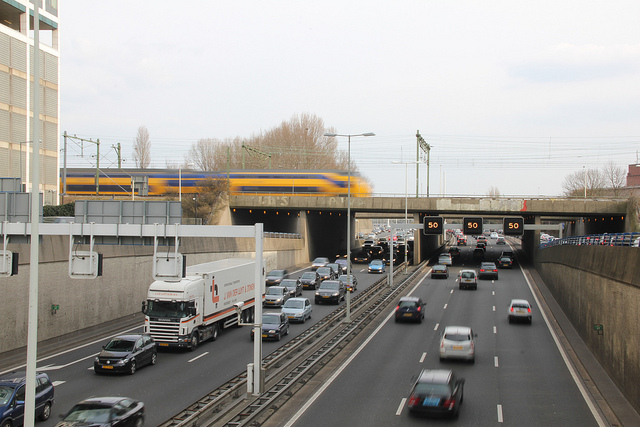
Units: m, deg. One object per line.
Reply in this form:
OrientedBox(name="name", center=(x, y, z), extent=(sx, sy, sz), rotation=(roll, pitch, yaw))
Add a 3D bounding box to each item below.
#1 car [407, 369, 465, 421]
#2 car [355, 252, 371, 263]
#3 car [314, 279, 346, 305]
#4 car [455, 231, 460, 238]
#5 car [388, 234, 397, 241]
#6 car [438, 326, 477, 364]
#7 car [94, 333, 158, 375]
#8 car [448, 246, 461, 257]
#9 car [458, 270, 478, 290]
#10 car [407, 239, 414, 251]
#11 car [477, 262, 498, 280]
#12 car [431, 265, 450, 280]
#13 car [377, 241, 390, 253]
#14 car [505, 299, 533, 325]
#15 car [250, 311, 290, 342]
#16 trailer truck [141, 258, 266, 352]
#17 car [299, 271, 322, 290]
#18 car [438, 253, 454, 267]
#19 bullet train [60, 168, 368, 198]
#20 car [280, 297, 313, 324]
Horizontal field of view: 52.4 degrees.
OrientedBox(name="car", center=(5.576, 8.894, 31.711), extent=(2.423, 2.104, 2.976), rotation=(0, -1, -1))
OrientedBox(name="car", center=(5.857, 6.191, 89.912), extent=(1.875, 1.318, 2.388), rotation=(-3, -2, 6))
OrientedBox(name="car", center=(0.952, 7.077, 57.125), extent=(2.804, 2.036, 1.852), rotation=(-2, -1, -36))
OrientedBox(name="car", center=(38.941, 6.212, 184.860), extent=(1.567, 1.237, 2.628), rotation=(0, -3, -7))
OrientedBox(name="car", center=(12.553, 4.305, 112.945), extent=(1.595, 0.803, 2.324), rotation=(0, -4, -2))
OrientedBox(name="car", center=(8.519, 7.923, 40.203), extent=(1.968, 1.940, 4.220), rotation=(1, 3, 14))
OrientedBox(name="car", center=(-11.377, 8.226, 38.260), extent=(2.325, 1.919, 4.701), rotation=(0, -3, 13))
OrientedBox(name="car", center=(19.957, 5.994, 96.834), extent=(1.258, 0.944, 1.991), rotation=(3, 10, 12))
OrientedBox(name="car", center=(14.503, 6.487, 63.808), extent=(1.176, 1.113, 2.126), rotation=(1, 7, 10))
OrientedBox(name="car", center=(14.472, 5.255, 104.583), extent=(1.262, 1.332, 2.448), rotation=(-5, -24, 8))
OrientedBox(name="car", center=(18.512, 6.524, 71.944), extent=(1.935, 1.819, 2.476), rotation=(-3, -1, 10))
OrientedBox(name="car", center=(13.247, 6.646, 72.658), extent=(1.779, 1.515, 1.738), rotation=(-3, -1, 6))
OrientedBox(name="car", center=(10.594, 5.780, 109.461), extent=(1.689, 1.796, 3.221), rotation=(0, -2, 0))
OrientedBox(name="car", center=(14.849, 7.403, 48.906), extent=(1.265, 1.012, 2.025), rotation=(0, 6, 8))
OrientedBox(name="car", center=(-3.130, 7.614, 43.746), extent=(1.687, 1.317, 2.893), rotation=(-1, -5, 11))
OrientedBox(name="trailer truck", center=(-8.029, 6.331, 46.686), extent=(3.911, 4.774, 13.050), rotation=(1, 1, 15))
OrientedBox(name="car", center=(-0.869, 6.727, 63.979), extent=(1.217, 1.004, 2.124), rotation=(2, 7, 10))
OrientedBox(name="car", center=(16.061, 5.967, 83.375), extent=(1.329, 1.188, 2.292), rotation=(-2, -8, 11))
OrientedBox(name="bullet train", center=(-14.937, -3.333, 86.349), extent=(37.462, 5.581, 4.052), rotation=(0, -16, -14))
OrientedBox(name="car", center=(-1.855, 7.437, 50.046), extent=(1.977, 1.719, 3.883), rotation=(0, -2, 16))
